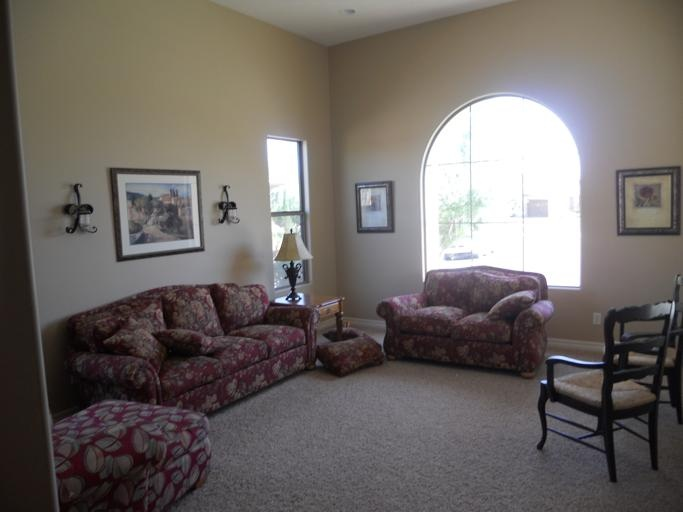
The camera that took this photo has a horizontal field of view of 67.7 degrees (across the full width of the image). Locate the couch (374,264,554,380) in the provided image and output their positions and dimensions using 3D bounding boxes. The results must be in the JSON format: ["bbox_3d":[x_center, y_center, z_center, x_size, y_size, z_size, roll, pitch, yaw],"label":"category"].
[{"bbox_3d":[1.369,0.680,5.537,1.749,1.095,0.972,0,1,40],"label":"couch"}]

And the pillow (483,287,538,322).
[{"bbox_3d":[1.649,0.503,4.988,0.419,0.276,0.192,0,9,18],"label":"pillow"}]

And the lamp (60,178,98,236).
[{"bbox_3d":[-2.173,-0.399,4.299,0.174,0.418,0.252,0,4,24],"label":"lamp"}]

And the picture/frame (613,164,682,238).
[{"bbox_3d":[3.157,-0.566,5.196,0.676,0.958,0.088,0,2,33],"label":"picture/frame"}]

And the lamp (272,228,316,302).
[{"bbox_3d":[-0.566,0.114,5.916,0.401,0.836,0.421,-2,4,-3],"label":"lamp"}]

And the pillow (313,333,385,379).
[{"bbox_3d":[0.101,1.006,5.275,0.408,0.201,0.432,-1,8,-34],"label":"pillow"}]

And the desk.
[{"bbox_3d":[-0.324,0.585,5.739,0.629,0.661,0.508,-1,-1,40],"label":"desk"}]

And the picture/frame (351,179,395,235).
[{"bbox_3d":[0.451,-0.662,6.823,0.664,0.853,0.062,1,3,33],"label":"picture/frame"}]

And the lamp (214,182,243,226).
[{"bbox_3d":[-1.224,-0.557,5.585,0.102,0.436,0.310,3,10,31],"label":"lamp"}]

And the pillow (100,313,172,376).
[{"bbox_3d":[-1.580,0.708,4.071,0.425,0.375,0.486,2,10,28],"label":"pillow"}]

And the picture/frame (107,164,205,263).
[{"bbox_3d":[-1.805,-0.406,4.864,0.037,0.913,0.879,-1,2,36],"label":"picture/frame"}]
